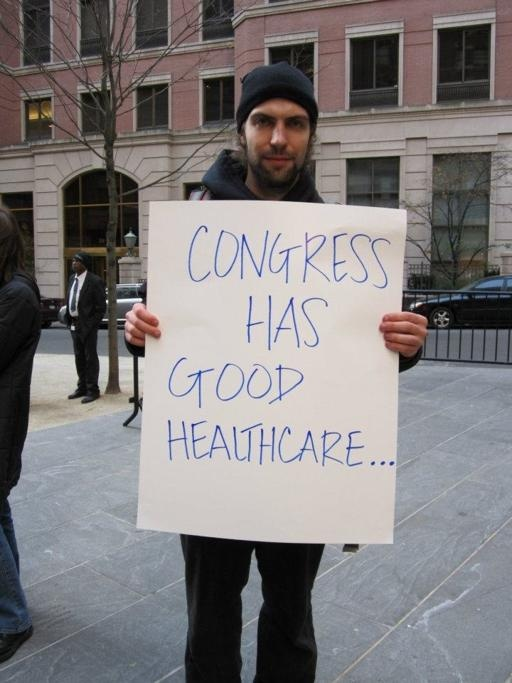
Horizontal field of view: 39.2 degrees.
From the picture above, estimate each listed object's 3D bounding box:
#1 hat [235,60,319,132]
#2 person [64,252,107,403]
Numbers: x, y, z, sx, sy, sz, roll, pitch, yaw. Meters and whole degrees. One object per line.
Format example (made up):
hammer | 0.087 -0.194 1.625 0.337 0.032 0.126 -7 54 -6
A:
hat | 0.058 -0.747 2.203 0.189 0.156 0.194 3 -10 -5
person | -1.986 -0.196 8.413 0.492 1.629 1.207 -2 8 -14
